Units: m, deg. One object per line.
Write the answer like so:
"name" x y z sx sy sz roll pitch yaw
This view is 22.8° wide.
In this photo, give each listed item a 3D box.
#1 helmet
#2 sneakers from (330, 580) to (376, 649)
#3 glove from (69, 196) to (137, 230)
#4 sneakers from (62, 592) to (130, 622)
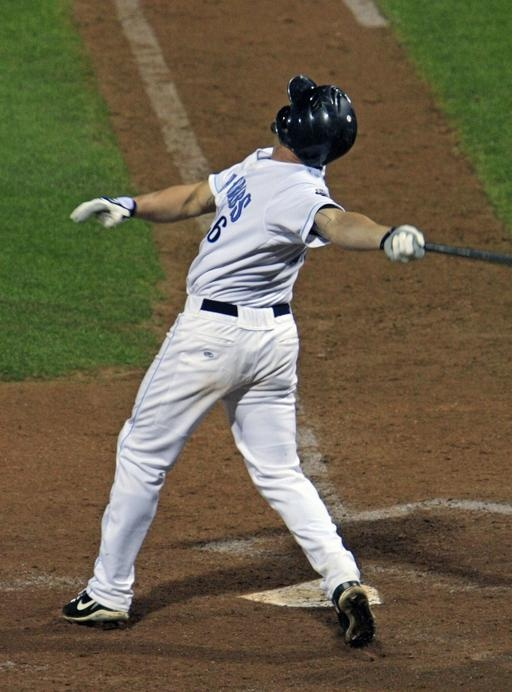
"helmet" 0.258 -1.074 6.128 0.331 0.370 0.437 -7 43 -30
"sneakers" 0.450 1.242 5.961 0.166 0.302 0.159 -17 9 -8
"glove" -0.780 -0.664 6.487 0.273 0.109 0.167 -35 30 -33
"sneakers" -0.802 1.287 6.244 0.375 0.151 0.125 5 -6 6
